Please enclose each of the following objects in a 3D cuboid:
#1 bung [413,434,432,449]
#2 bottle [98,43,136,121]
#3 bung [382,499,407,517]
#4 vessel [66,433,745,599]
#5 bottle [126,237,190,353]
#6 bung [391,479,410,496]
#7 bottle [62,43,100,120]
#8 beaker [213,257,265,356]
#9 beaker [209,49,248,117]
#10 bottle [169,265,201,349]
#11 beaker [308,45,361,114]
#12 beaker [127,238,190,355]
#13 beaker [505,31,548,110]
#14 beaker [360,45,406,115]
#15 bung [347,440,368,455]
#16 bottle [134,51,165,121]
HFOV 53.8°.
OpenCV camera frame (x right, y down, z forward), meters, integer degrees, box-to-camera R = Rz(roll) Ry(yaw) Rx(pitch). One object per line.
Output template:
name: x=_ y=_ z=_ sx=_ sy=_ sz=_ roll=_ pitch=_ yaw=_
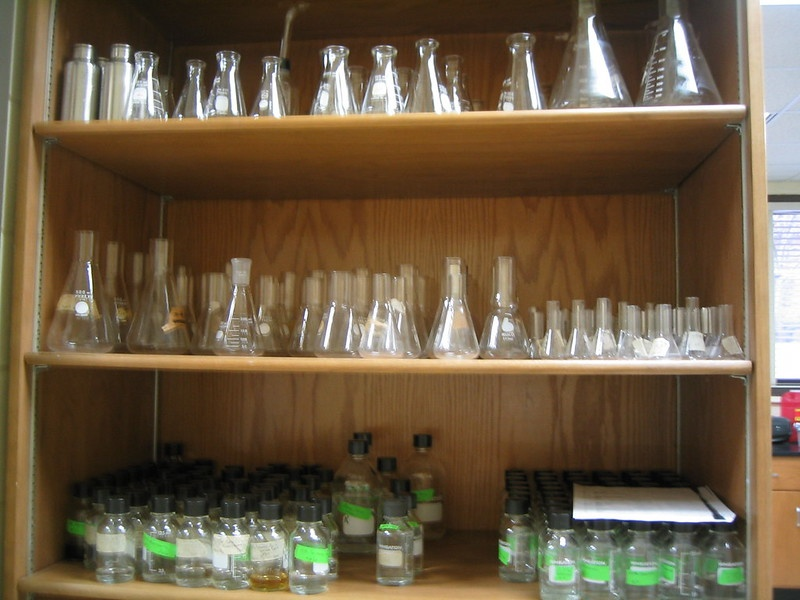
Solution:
bung: x=0.069 y=0.436 z=2.443 sx=0.046 sy=0.033 sz=0.046 roll=-1 pitch=0 yaw=0
bottle: x=-0.790 y=-0.604 z=2.186 sx=0.091 sy=0.219 sz=0.054 roll=1 pitch=-7 yaw=-16
bung: x=-0.011 y=0.558 z=2.122 sx=0.061 sy=0.047 sz=0.069 roll=-5 pitch=-8 yaw=29
vessel: x=-0.029 y=0.601 z=2.237 sx=1.843 sy=0.419 sz=0.396 roll=-2 pitch=-7 yaw=4
bottle: x=-0.703 y=-0.004 z=2.310 sx=0.195 sy=0.349 sz=0.193 roll=5 pitch=11 yaw=-1
bung: x=0.000 y=0.522 z=2.211 sx=0.045 sy=0.032 sz=0.044 roll=2 pitch=-4 yaw=-29
bottle: x=-0.893 y=-0.591 z=2.169 sx=0.102 sy=0.233 sz=0.068 roll=-1 pitch=-7 yaw=3
beaker: x=-0.453 y=0.016 z=2.260 sx=0.128 sy=0.287 sz=0.153 roll=-1 pitch=-7 yaw=4
beaker: x=-0.480 y=-0.593 z=2.171 sx=0.104 sy=0.231 sz=0.117 roll=1 pitch=-7 yaw=-14
bottle: x=-0.657 y=0.019 z=2.395 sx=0.116 sy=0.243 sz=0.105 roll=-2 pitch=3 yaw=-42
beaker: x=-0.179 y=-0.586 z=2.204 sx=0.128 sy=0.268 sz=0.119 roll=3 pitch=-12 yaw=-17
beaker: x=-0.710 y=-0.003 z=2.320 sx=0.192 sy=0.349 sz=0.187 roll=1 pitch=2 yaw=-16
beaker: x=0.337 y=-0.620 z=2.174 sx=0.108 sy=0.248 sz=0.136 roll=-2 pitch=-7 yaw=10
beaker: x=-0.048 y=-0.585 z=2.138 sx=0.115 sy=0.221 sz=0.144 roll=-1 pitch=-7 yaw=0
bung: x=-0.127 y=0.439 z=2.359 sx=0.045 sy=0.032 sz=0.045 roll=0 pitch=0 yaw=6
bottle: x=-0.702 y=-0.586 z=2.206 sx=0.093 sy=0.213 sz=0.161 roll=1 pitch=-7 yaw=-18
